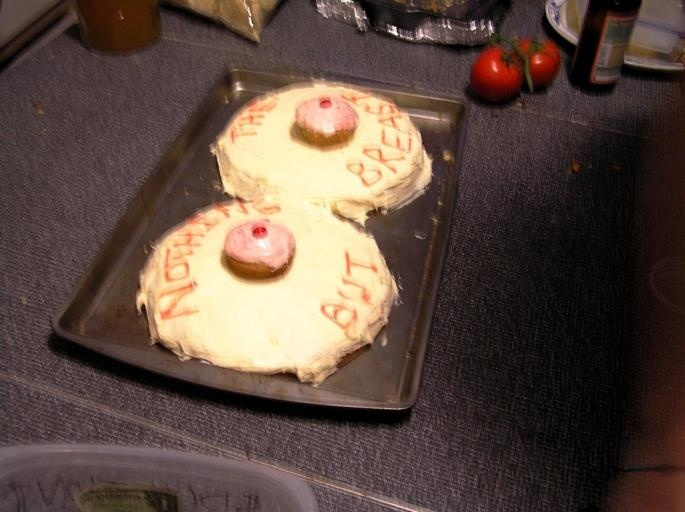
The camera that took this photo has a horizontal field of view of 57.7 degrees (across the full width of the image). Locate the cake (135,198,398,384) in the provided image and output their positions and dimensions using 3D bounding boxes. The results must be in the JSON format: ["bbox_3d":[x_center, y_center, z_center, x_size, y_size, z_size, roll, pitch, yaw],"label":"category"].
[{"bbox_3d":[-0.128,0.029,1.137,0.446,0.112,0.501,14,36,14],"label":"cake"}]
